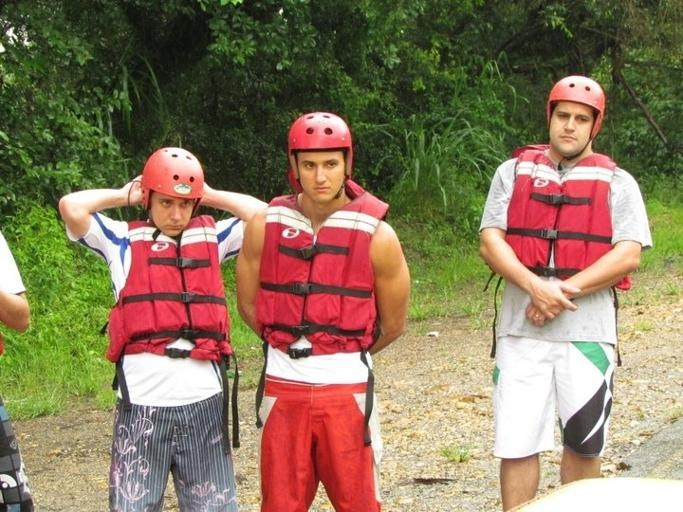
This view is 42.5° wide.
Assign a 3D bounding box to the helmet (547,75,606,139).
[{"bbox_3d":[1.641,-1.031,6.327,0.344,0.509,0.471,6,-4,14],"label":"helmet"}]

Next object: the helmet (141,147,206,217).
[{"bbox_3d":[-1.124,-0.548,5.798,0.307,0.369,0.453,-2,41,-29],"label":"helmet"}]
